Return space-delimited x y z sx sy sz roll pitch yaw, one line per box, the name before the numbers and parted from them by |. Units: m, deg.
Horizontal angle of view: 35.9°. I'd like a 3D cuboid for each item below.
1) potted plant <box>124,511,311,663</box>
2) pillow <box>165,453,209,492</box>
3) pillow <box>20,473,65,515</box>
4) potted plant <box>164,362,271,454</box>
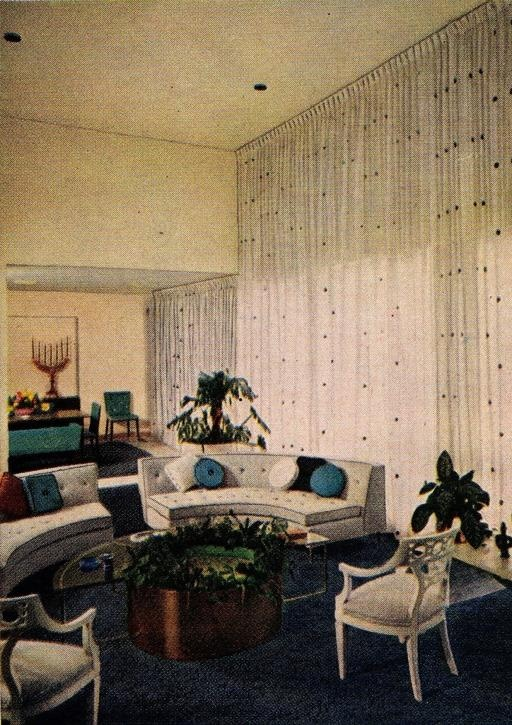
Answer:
potted plant | -0.170 0.942 3.425 0.617 0.345 0.520 3 -5 -28
pillow | -0.439 0.688 4.999 0.201 0.091 0.193 -30 61 -30
pillow | -1.210 0.741 4.461 0.053 0.200 0.206 -32 -15 30
potted plant | -0.263 0.296 5.687 0.694 0.712 0.596 0 -1 -15
